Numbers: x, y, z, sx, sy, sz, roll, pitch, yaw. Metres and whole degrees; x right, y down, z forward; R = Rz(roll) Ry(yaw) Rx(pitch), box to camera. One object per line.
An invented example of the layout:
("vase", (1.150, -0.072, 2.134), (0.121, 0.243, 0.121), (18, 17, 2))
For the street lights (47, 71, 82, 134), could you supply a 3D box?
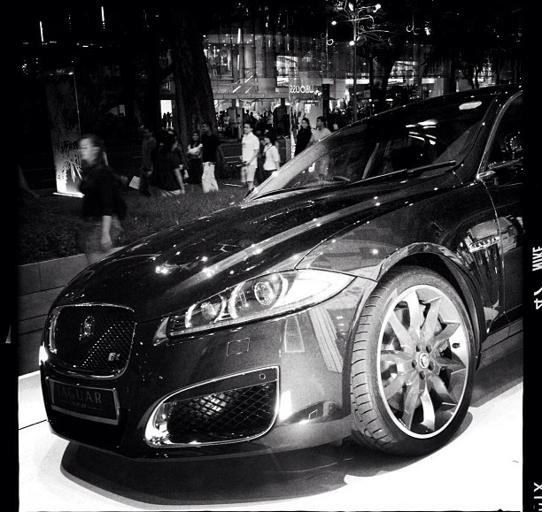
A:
("street lights", (-3.798, -2.898, 8.740), (0.617, 1.484, 0.134), (10, 31, 13))
